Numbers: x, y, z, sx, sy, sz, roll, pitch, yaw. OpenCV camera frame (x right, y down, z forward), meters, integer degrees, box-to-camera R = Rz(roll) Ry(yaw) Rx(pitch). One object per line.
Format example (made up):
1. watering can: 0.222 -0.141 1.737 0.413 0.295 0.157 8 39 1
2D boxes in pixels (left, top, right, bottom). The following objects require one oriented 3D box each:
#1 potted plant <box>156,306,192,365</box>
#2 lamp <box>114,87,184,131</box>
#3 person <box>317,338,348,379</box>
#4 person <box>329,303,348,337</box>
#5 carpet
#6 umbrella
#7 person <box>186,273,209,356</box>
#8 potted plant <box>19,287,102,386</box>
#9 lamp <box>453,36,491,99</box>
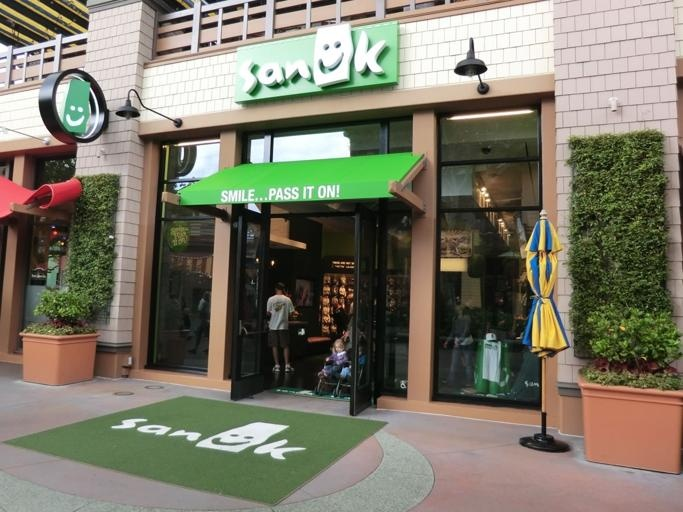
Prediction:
1. potted plant: -3.418 1.708 11.628 1.024 1.159 1.093 0 -8 -16
2. lamp: -3.811 -2.984 11.062 1.086 0.840 1.277 0 4 -20
3. person: -0.091 2.004 10.497 0.586 0.848 0.650 2 4 16
4. person: -0.218 2.045 17.479 0.345 0.991 0.701 8 -3 -33
5. carpet: -1.769 2.561 7.897 4.112 0.127 2.835 2 4 15
6. umbrella: 2.845 0.951 7.838 0.580 3.167 0.422 2 4 19
7. person: -2.765 1.172 11.047 0.421 1.596 0.154 3 4 23
8. potted plant: -5.290 1.571 10.610 1.280 1.722 0.800 -1 4 -28
9. lamp: 1.923 -3.038 8.547 0.388 0.493 0.822 5 17 -1
